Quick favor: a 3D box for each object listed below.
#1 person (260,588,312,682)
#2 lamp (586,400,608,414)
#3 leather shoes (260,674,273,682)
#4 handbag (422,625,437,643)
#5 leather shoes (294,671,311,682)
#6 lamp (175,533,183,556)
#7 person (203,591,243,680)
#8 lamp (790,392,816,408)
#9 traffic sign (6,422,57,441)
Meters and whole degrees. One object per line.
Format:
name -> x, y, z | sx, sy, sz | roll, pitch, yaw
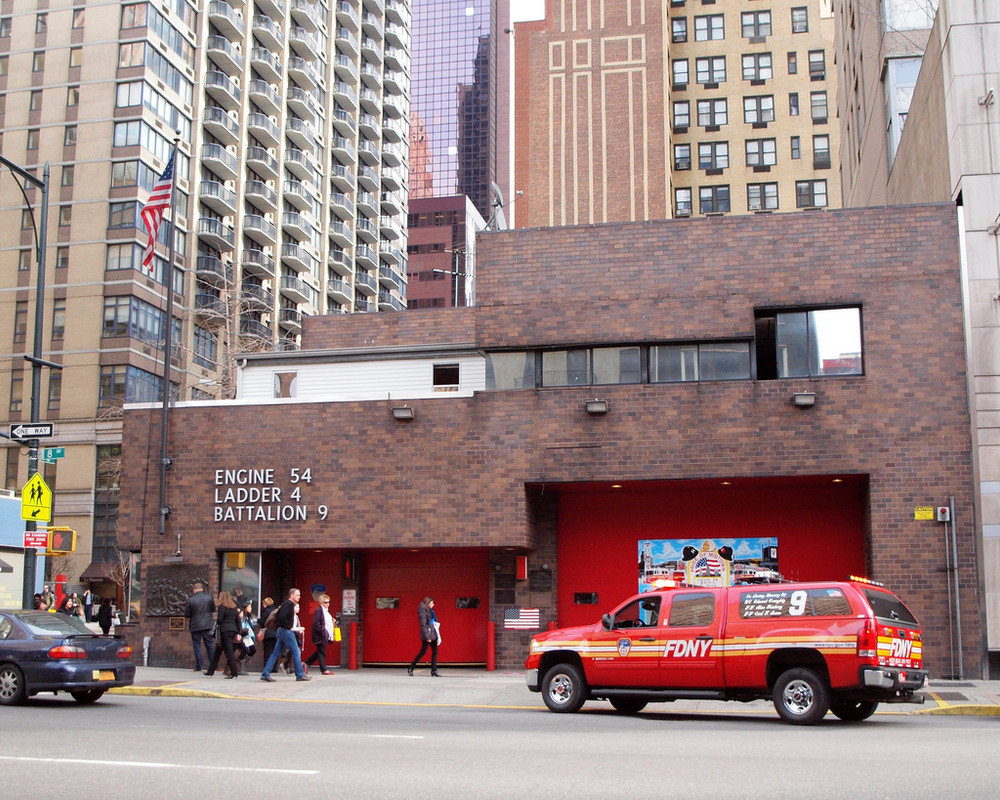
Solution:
person -> -4.849, 5.334, 30.941 | 0.904, 2.084, 1.271 | -1, -6, 1
lamp -> 2.428, 0.156, 33.168 | 0.525, 0.294, 0.354 | -2, 5, 7
leather shoes -> -5.265, 6.281, 30.852 | 0.305, 0.214, 0.114 | 3, -8, -11
handbag -> -1.656, 5.589, 32.649 | 0.473, 0.322, 0.572 | 1, 1, -1
leather shoes -> -4.501, 6.366, 31.301 | 0.315, 0.226, 0.117 | 0, -9, -4
lamp -> -8.281, 3.692, 35.178 | 0.153, 0.657, 0.186 | -1, -6, 3
person -> -6.411, 5.445, 31.859 | 0.732, 1.985, 1.216 | 1, -6, -16
lamp -> 7.215, -0.013, 31.985 | 0.474, 0.329, 0.336 | 0, -15, 6
traffic sign -> -10.789, 0.709, 31.411 | 0.849, 0.570, 1.761 | 1, -7, -23
